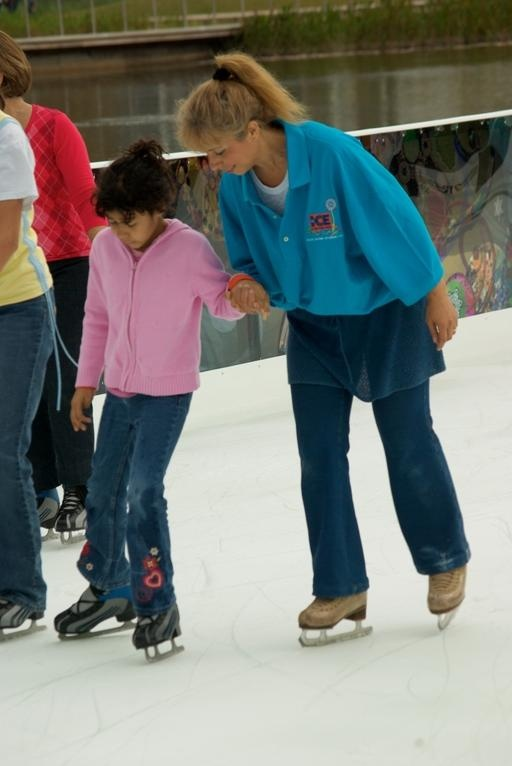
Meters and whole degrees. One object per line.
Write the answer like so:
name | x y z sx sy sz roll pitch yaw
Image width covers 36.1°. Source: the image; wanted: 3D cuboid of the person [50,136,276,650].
person | -0.240 0.038 1.536 0.418 0.976 0.287 0 9 36

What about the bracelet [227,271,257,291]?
bracelet | -0.024 -0.194 1.493 0.043 0.036 0.040 -2 -15 -25

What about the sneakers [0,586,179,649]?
sneakers | -0.275 0.458 1.544 0.222 0.062 0.170 2 -1 -13

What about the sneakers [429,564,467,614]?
sneakers | 0.380 0.412 1.545 0.047 0.050 0.132 -5 3 17

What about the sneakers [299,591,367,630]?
sneakers | 0.155 0.443 1.527 0.166 0.073 0.057 2 -3 -35
